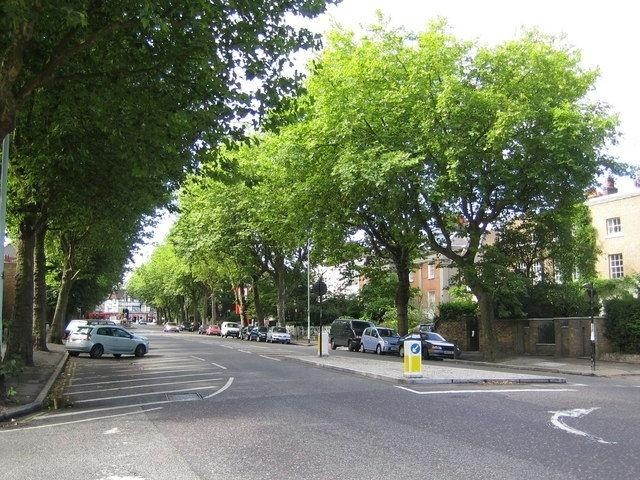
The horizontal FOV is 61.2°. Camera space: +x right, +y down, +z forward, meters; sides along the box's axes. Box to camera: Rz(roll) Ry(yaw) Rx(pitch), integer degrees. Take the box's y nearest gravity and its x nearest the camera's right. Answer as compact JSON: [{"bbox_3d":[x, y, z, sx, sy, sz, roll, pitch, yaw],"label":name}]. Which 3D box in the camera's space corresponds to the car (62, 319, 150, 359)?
[{"bbox_3d":[-11.701,5.549,29.446,3.779,1.695,1.059,9,-14,-29],"label":"car"}]
